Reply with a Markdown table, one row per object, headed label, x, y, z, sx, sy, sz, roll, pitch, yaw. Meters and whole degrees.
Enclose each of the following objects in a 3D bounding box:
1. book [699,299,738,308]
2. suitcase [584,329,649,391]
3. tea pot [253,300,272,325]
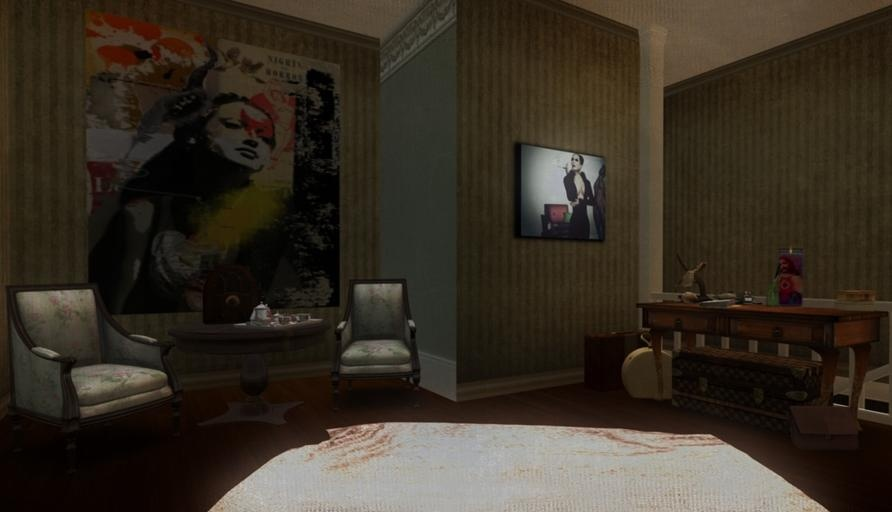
| label | x | y | z | sx | sy | sz | roll | pitch | yaw |
| --- | --- | --- | --- | --- | --- | --- | --- | --- | --- |
| book | 3.250 | 0.550 | 7.343 | 0.444 | 0.079 | 0.158 | 1 | 1 | -13 |
| suitcase | 2.260 | 1.402 | 8.154 | 0.866 | 0.708 | 0.427 | 1 | -7 | -19 |
| tea pot | -2.171 | 0.698 | 7.474 | 0.239 | 0.261 | 0.247 | 0 | -8 | 0 |
